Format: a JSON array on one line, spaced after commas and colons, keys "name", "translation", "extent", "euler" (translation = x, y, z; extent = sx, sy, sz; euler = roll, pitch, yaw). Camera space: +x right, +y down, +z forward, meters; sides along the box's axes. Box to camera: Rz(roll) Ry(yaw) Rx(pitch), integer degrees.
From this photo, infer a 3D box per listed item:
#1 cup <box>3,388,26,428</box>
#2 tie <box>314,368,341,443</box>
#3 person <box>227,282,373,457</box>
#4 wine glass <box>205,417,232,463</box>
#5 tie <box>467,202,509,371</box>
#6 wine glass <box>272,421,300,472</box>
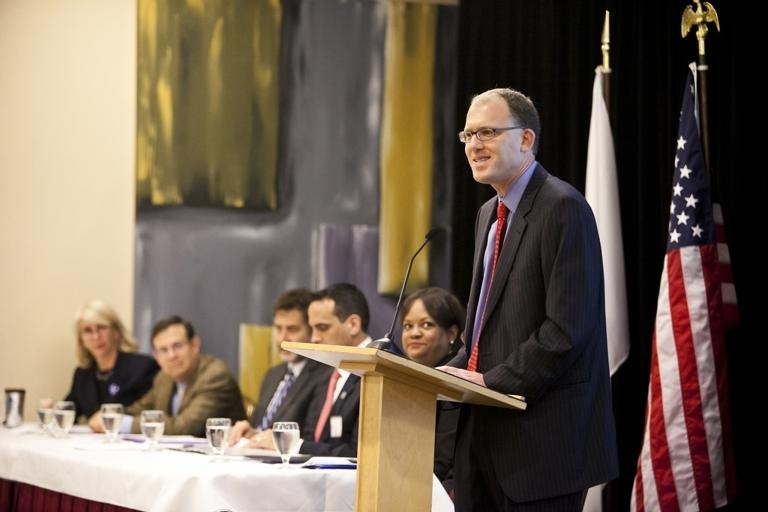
[{"name": "cup", "translation": [-2.107, 0.874, 6.100], "extent": [0.108, 0.213, 0.120], "euler": [-11, -24, 29]}, {"name": "tie", "translation": [-0.324, 0.865, 6.136], "extent": [0.064, 0.349, 0.246], "euler": [8, -3, 10]}, {"name": "person", "translation": [-0.611, 0.930, 6.765], "extent": [0.471, 1.440, 0.423], "euler": [8, -4, 25]}, {"name": "wine glass", "translation": [-0.765, 0.856, 5.042], "extent": [0.127, 0.266, 0.158], "euler": [0, -12, 0]}, {"name": "tie", "translation": [0.488, 0.039, 4.925], "extent": [0.101, 1.191, 0.148], "euler": [-9, -29, 28]}, {"name": "wine glass", "translation": [-0.452, 0.865, 4.959], "extent": [0.110, 0.203, 0.186], "euler": [0, 4, -3]}]
